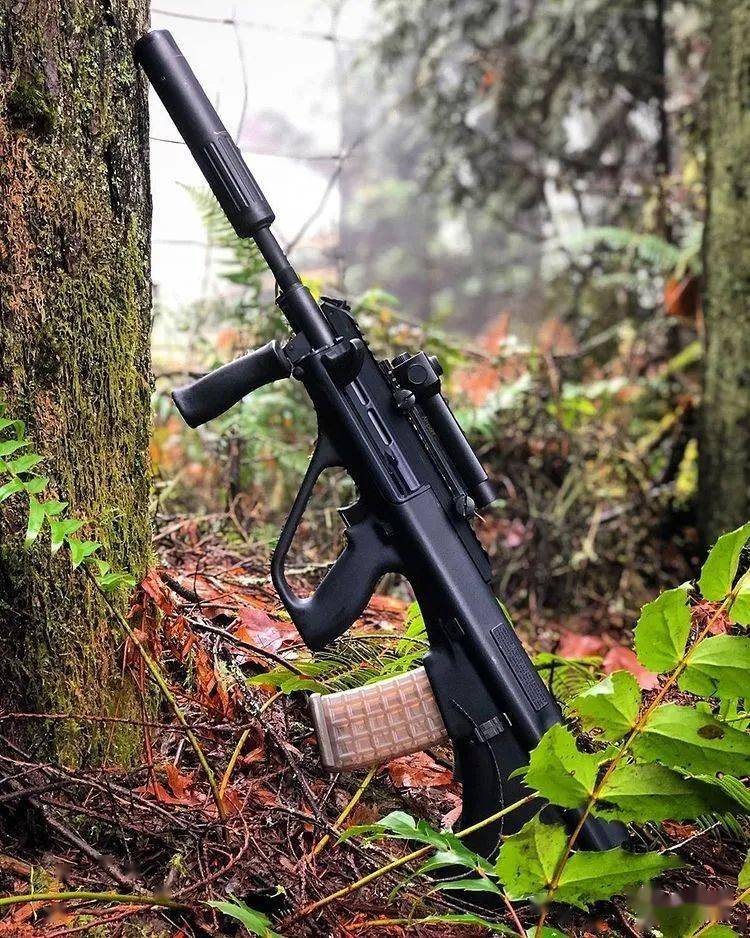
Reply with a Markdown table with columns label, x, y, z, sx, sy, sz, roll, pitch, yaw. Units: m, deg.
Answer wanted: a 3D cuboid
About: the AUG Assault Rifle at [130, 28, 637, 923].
| label | x | y | z | sx | sy | sz | roll | pitch | yaw |
| --- | --- | --- | --- | --- | --- | --- | --- | --- | --- |
| AUG Assault Rifle | -0.156 | -0.047 | 2.357 | 0.573 | 1.954 | 0.671 | -29 | 9 | 20 |
